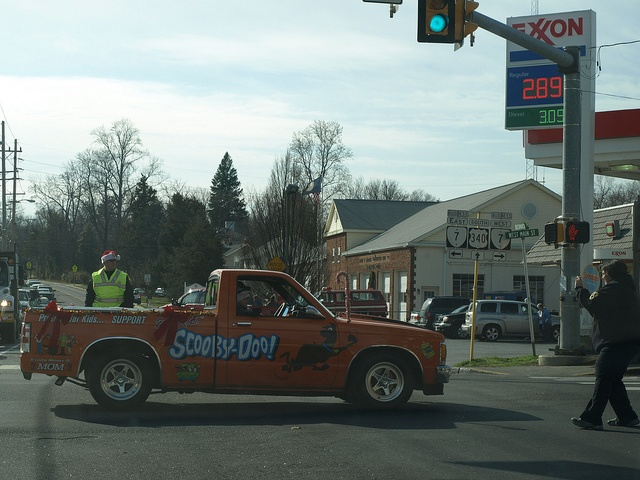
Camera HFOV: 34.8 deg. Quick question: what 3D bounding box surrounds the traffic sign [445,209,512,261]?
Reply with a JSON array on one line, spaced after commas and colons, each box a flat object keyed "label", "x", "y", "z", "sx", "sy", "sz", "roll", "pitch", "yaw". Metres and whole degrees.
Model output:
[{"label": "traffic sign", "x": 4.232, "y": -0.144, "z": 27.392, "sx": 2.143, "sy": 1.647, "sz": 0.037, "roll": 1, "pitch": 0, "yaw": -6}]

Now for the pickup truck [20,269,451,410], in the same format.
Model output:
[{"label": "pickup truck", "x": -1.504, "y": 1.794, "z": 18.171, "sx": 7.111, "sy": 2.542, "sz": 0.628, "roll": -1, "pitch": 1, "yaw": -4}]

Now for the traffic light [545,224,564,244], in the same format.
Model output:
[{"label": "traffic light", "x": 5.531, "y": -0.168, "z": 24.101, "sx": 0.491, "sy": 0.520, "sz": 0.276, "roll": 0, "pitch": 1, "yaw": 26}]

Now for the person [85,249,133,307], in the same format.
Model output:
[{"label": "person", "x": -4.033, "y": 0.871, "z": 19.612, "sx": 0.547, "sy": 1.542, "sz": 0.459, "roll": 1, "pitch": -1, "yaw": -3}]

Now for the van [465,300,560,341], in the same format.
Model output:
[{"label": "van", "x": 7.179, "y": 3.140, "z": 39.067, "sx": 3.592, "sy": 1.646, "sz": 1.792, "roll": -2, "pitch": -1, "yaw": -3}]
